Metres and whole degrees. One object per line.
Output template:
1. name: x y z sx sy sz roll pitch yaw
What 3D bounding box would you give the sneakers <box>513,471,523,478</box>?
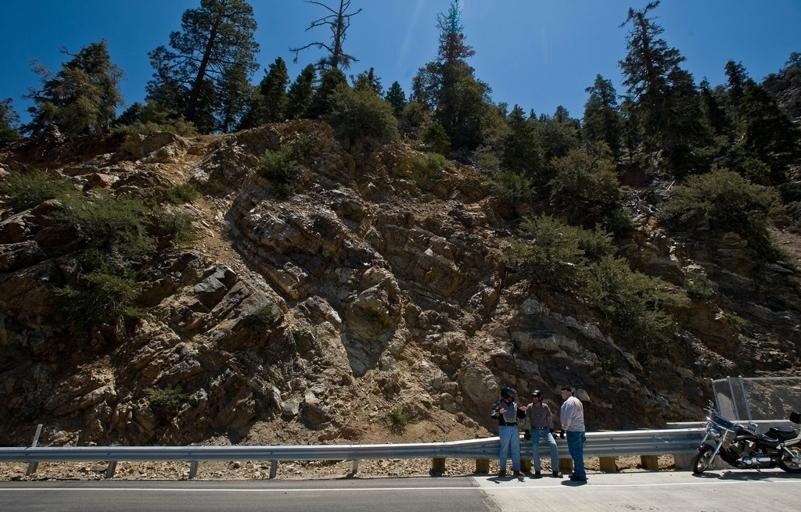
1. sneakers: 4.337 8.004 19.549 0.378 0.132 0.261 -23 -33 2

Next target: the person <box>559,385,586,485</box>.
1. person: 6.364 6.529 19.639 0.871 3.161 0.876 0 -6 19

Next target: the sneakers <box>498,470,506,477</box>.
1. sneakers: 3.715 7.950 19.578 0.254 0.207 0.257 1 -5 10

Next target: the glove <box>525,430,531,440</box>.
1. glove: 4.760 6.714 20.035 0.260 0.273 0.499 -4 17 15

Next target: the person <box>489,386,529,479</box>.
1. person: 3.980 6.504 19.775 1.062 3.150 0.541 0 -6 12

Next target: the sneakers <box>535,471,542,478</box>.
1. sneakers: 5.019 7.990 19.579 0.228 0.121 0.344 -4 -1 -14

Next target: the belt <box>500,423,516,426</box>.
1. belt: 3.985 6.252 19.796 0.597 0.133 0.135 2 -5 -3
